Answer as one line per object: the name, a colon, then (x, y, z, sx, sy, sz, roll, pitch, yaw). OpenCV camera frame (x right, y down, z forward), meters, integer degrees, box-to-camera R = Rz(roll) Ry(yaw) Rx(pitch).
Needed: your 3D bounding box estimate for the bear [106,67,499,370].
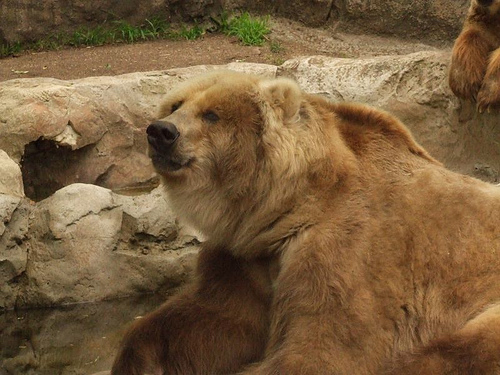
bear: (0.395, 0.254, 6.699, 2.874, 2.125, 1.936, 3, 4, -6)
